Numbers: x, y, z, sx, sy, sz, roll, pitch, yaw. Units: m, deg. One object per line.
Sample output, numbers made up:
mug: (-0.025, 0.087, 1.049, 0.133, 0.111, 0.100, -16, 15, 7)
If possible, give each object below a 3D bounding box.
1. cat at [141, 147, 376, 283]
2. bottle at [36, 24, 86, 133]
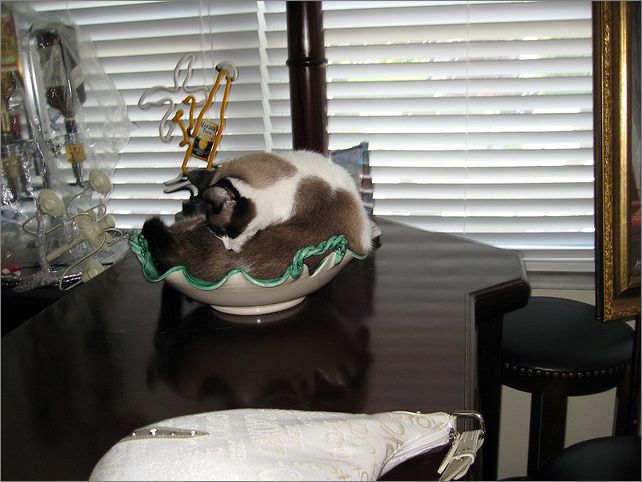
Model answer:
cat: (-0.093, -0.037, 0.954, 0.399, 0.178, 0.292, -14, 15, -4)
bottle: (-0.656, -0.404, 1.421, 0.094, 0.252, 0.050, -11, 19, -24)
